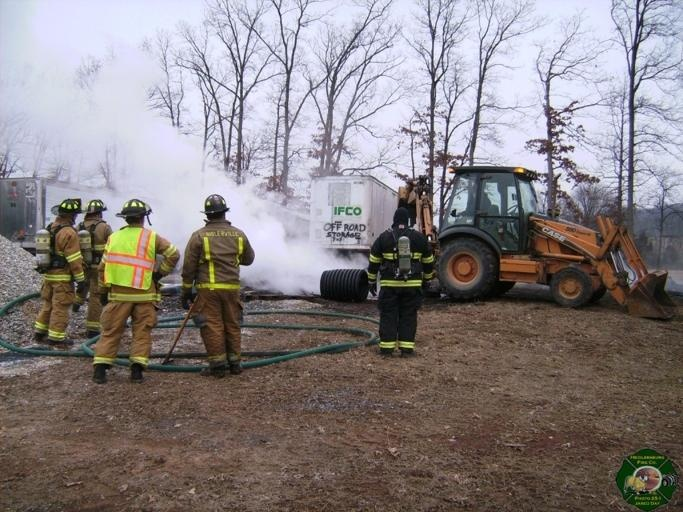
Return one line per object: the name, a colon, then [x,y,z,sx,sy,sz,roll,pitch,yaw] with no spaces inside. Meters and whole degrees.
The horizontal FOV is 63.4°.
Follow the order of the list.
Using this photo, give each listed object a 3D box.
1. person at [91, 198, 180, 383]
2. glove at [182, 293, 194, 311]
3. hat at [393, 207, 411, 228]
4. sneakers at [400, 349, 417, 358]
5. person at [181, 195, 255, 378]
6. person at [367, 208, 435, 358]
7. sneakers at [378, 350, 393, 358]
person: [-2.449,0.405,6.446,1.029,2.086,0.777,-7,12,-39]
glove: [-1.895,0.557,6.864,0.172,0.231,0.081,9,-6,25]
hat: [0.841,-0.535,7.648,0.228,0.254,0.262,1,-2,0]
sneakers: [0.901,1.293,7.376,0.146,0.138,0.123,7,-4,2]
person: [-1.495,0.342,6.683,0.822,2.112,0.678,-5,10,-29]
person: [0.810,0.381,7.495,0.832,2.012,0.703,0,9,-3]
sneakers: [0.601,1.304,7.327,0.125,0.080,0.096,1,1,1]
